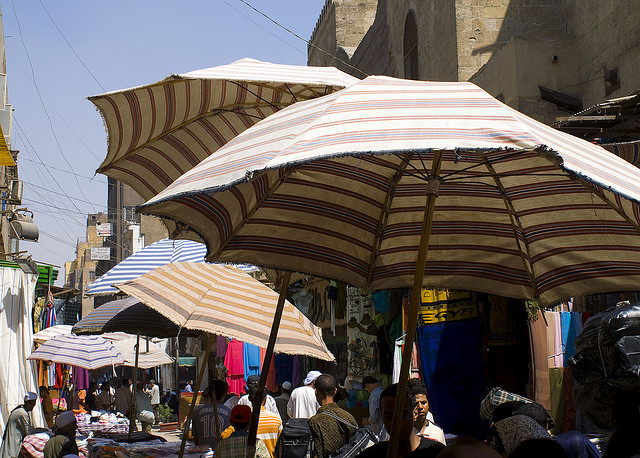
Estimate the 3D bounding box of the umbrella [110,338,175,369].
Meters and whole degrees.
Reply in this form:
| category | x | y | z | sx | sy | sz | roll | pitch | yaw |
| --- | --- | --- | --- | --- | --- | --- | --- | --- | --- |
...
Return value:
| category | x | y | z | sx | sy | sz | roll | pitch | yaw |
| --- | --- | --- | --- | --- | --- | --- | --- | --- | --- |
| umbrella | -3.744 | 2.605 | 16.481 | 1.538 | 0.719 | 1.564 | 3 | -10 | 0 |
